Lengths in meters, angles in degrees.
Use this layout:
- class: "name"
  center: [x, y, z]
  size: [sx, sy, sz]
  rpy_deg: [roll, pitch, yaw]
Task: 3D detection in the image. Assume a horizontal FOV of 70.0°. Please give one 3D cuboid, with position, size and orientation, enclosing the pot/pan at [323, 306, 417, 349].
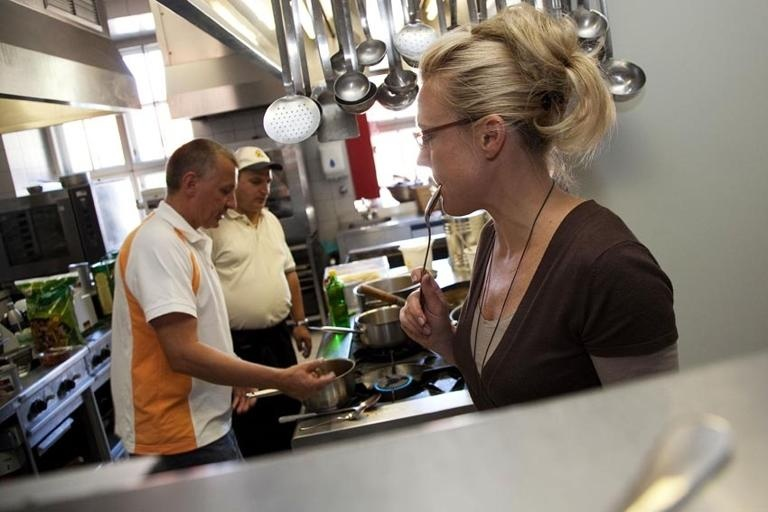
- class: "pot/pan"
  center: [-0.020, 0.306, 2.279]
  size: [0.280, 0.109, 0.173]
  rpy_deg: [-14, 11, -17]

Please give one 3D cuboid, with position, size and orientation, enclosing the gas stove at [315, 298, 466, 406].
- class: "gas stove"
  center: [-0.045, 0.385, 2.297]
  size: [0.435, 0.171, 0.315]
  rpy_deg: [-9, 15, -28]

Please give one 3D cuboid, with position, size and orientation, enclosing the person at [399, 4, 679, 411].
- class: "person"
  center: [0.374, -0.094, 1.302]
  size: [0.561, 0.968, 0.285]
  rpy_deg: [-1, 4, 29]

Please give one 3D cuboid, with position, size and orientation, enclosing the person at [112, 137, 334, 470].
- class: "person"
  center: [-0.708, 0.185, 2.051]
  size: [0.557, 1.326, 0.655]
  rpy_deg: [-4, 4, -31]

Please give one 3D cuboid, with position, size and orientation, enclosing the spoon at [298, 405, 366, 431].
- class: "spoon"
  center: [-0.156, 0.528, 1.769]
  size: [0.244, 0.028, 0.077]
  rpy_deg: [-17, 21, 12]

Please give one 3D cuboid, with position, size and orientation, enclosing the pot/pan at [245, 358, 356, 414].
- class: "pot/pan"
  center: [-0.275, 0.450, 1.913]
  size: [0.363, 0.142, 0.186]
  rpy_deg: [-9, 10, -8]
